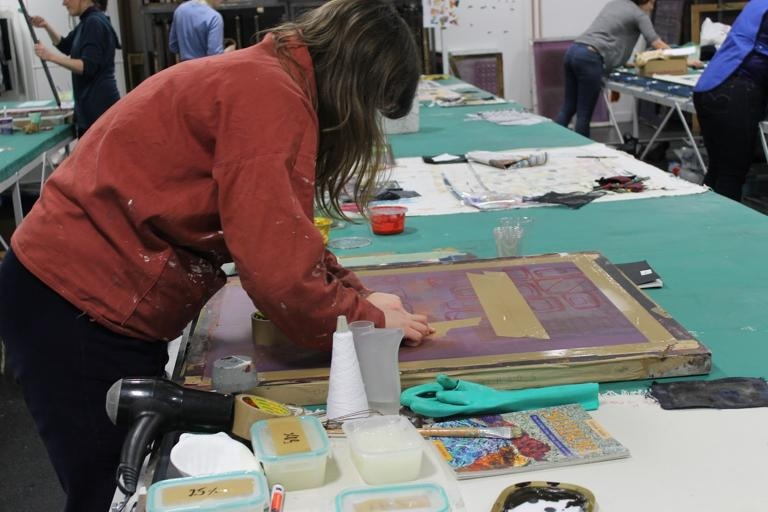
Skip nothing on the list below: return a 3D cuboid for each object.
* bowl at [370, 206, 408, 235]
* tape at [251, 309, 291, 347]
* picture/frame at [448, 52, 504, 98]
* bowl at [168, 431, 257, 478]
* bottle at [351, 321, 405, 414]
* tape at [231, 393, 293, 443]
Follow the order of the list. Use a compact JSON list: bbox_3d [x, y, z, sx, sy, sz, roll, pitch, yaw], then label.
[{"bbox_3d":[0.018,-0.143,2.175,0.128,0.056,0.118,-1,12,0],"label":"bowl"},{"bbox_3d":[-0.276,0.177,1.434,0.095,0.059,0.088,-8,21,-26],"label":"tape"},{"bbox_3d":[1.159,-2.294,7.335,0.753,0.602,0.510,-5,22,-5],"label":"picture/frame"},{"bbox_3d":[-0.299,0.352,1.013,0.154,0.029,0.079,-2,28,-3],"label":"bowl"},{"bbox_3d":[-0.011,0.235,1.190,0.126,0.172,0.117,2,23,-1],"label":"bottle"},{"bbox_3d":[-0.242,0.306,1.104,0.097,0.082,0.053,3,61,50],"label":"tape"}]
